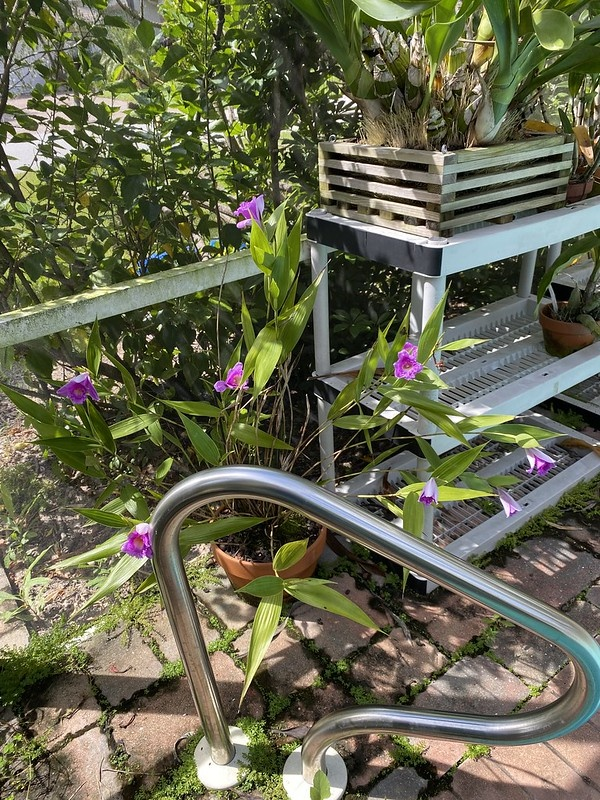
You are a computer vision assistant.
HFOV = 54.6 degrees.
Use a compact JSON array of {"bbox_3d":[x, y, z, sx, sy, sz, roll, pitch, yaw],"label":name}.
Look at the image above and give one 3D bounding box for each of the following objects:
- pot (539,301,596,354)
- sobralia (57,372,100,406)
[{"bbox_3d":[0.827,-0.210,1.837,0.152,0.104,0.143,-1,40,1],"label":"pot"},{"bbox_3d":[-0.379,-0.024,0.994,0.055,0.031,0.068,8,17,11],"label":"sobralia"}]
